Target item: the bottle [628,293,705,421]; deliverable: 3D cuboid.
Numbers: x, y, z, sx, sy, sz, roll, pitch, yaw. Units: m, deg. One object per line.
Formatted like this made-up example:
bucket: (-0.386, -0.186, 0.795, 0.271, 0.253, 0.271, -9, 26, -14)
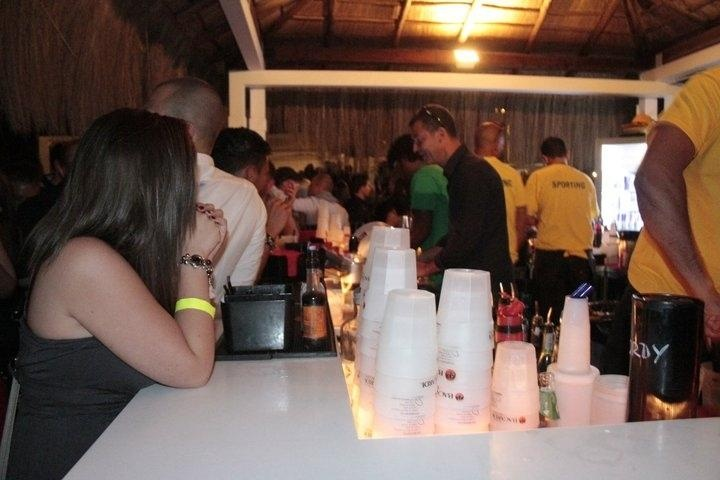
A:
bottle: (0.843, 0.333, 1.608, 0.179, 0.353, 0.079, 2, 5, 21)
